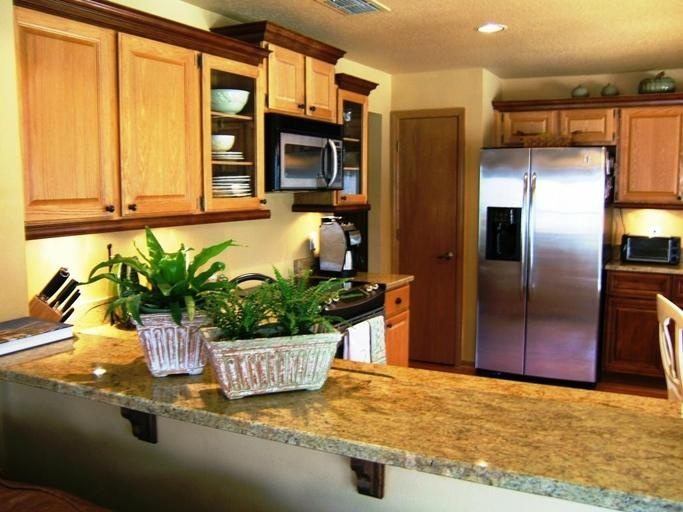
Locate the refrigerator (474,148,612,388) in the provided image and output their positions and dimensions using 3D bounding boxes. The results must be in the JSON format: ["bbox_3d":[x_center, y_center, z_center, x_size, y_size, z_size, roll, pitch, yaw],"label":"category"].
[{"bbox_3d":[1.703,0.074,4.622,1.133,2.009,0.371,5,14,18],"label":"refrigerator"}]

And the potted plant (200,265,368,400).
[{"bbox_3d":[-0.196,0.213,1.504,0.392,0.330,0.243,0,12,-7],"label":"potted plant"}]

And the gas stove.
[{"bbox_3d":[-0.122,0.242,3.724,0.586,0.171,0.531,1,5,18],"label":"gas stove"}]

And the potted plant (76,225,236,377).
[{"bbox_3d":[-0.498,0.164,1.660,0.645,0.391,0.454,-8,-6,43],"label":"potted plant"}]

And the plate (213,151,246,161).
[{"bbox_3d":[-0.639,-0.565,2.994,0.048,0.056,0.240,6,11,22],"label":"plate"}]

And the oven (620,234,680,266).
[{"bbox_3d":[2.784,-0.058,4.811,0.601,0.264,0.320,2,1,30],"label":"oven"}]

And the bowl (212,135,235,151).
[{"bbox_3d":[-0.657,-0.630,2.958,0.027,0.096,0.173,7,12,23],"label":"bowl"}]

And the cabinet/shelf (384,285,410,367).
[{"bbox_3d":[0.437,0.568,4.146,0.154,0.674,0.534,6,13,18],"label":"cabinet/shelf"}]

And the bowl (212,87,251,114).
[{"bbox_3d":[-0.627,-0.868,2.967,0.199,0.065,0.185,-3,3,0],"label":"bowl"}]

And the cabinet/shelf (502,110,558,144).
[{"bbox_3d":[1.789,-1.219,4.983,0.565,0.276,0.271,-1,2,27],"label":"cabinet/shelf"}]

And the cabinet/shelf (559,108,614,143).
[{"bbox_3d":[2.264,-1.198,4.866,0.498,0.254,0.240,2,4,34],"label":"cabinet/shelf"}]
